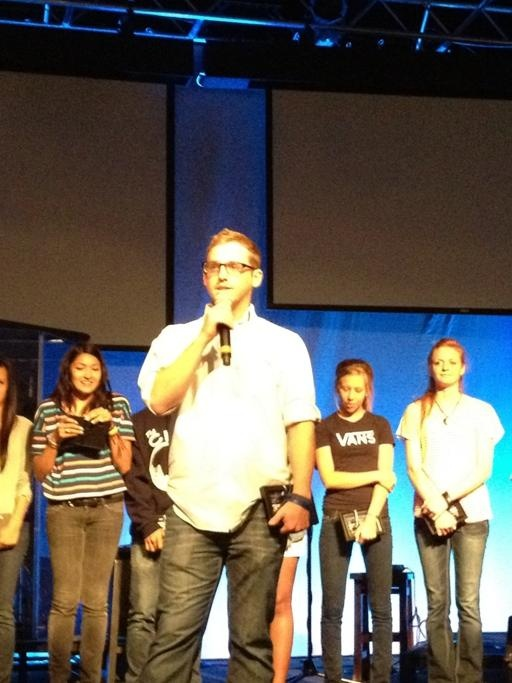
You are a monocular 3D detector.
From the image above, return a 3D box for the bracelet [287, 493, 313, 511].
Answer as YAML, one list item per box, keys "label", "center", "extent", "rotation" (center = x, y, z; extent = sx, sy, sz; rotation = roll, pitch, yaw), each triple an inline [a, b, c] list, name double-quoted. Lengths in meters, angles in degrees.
- label: "bracelet"
  center: [0.113, 0.414, 2.232]
  extent: [0.052, 0.028, 0.057]
  rotation: [17, -18, 33]

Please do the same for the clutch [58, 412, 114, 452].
- label: "clutch"
  center: [-0.773, 0.421, 3.742]
  extent: [0.180, 0.179, 0.065]
  rotation: [7, -26, 12]

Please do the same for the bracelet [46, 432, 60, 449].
- label: "bracelet"
  center: [-0.910, 0.439, 3.730]
  extent: [0.059, 0.073, 0.036]
  rotation: [-2, -6, 7]

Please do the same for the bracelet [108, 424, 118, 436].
- label: "bracelet"
  center: [-0.645, 0.397, 3.746]
  extent: [0.044, 0.044, 0.014]
  rotation: [8, -49, 9]

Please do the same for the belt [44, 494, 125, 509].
- label: "belt"
  center: [-0.767, 0.711, 3.748]
  extent: [0.333, 0.068, 0.087]
  rotation: [5, -14, -12]

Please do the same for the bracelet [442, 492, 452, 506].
- label: "bracelet"
  center: [0.901, 0.740, 3.943]
  extent: [0.033, 0.048, 0.051]
  rotation: [-12, -46, 16]
